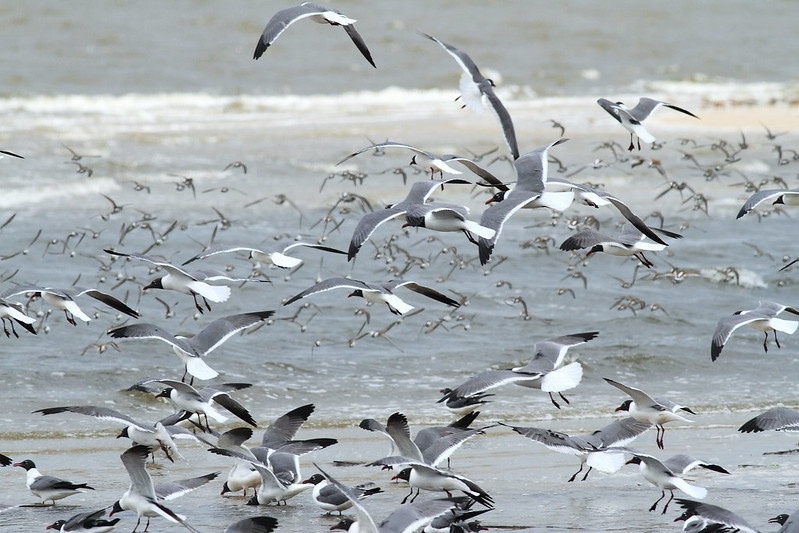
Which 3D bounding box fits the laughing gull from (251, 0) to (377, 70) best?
[{"bbox_3d":[-2.105,-5.573,31.512,2.437,1.290,2.555,0,33,-3],"label":"laughing gull"}]
